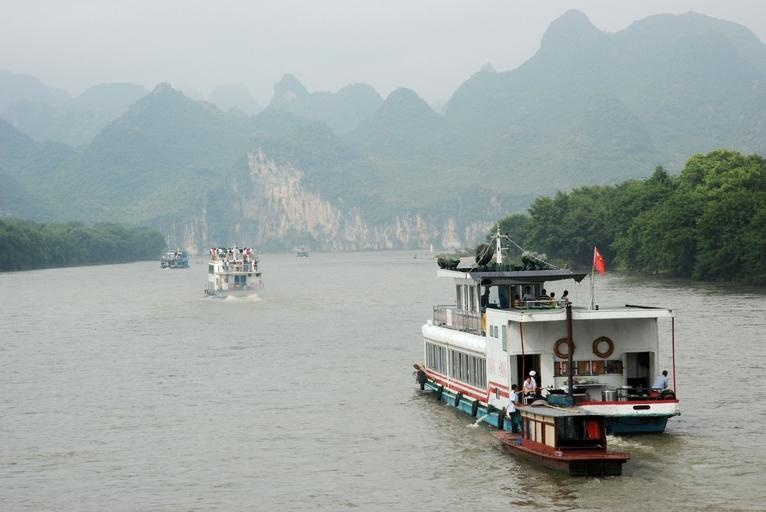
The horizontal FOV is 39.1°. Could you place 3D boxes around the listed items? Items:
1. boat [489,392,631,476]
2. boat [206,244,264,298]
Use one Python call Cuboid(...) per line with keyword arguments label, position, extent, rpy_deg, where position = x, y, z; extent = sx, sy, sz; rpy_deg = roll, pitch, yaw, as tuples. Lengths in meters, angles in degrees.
Cuboid(label="boat", position=(13.841, 13.683, 80.351), extent=(4.209, 3.298, 9.584), rpy_deg=(0, -3, -24))
Cuboid(label="boat", position=(-28.337, 3.057, 203.079), extent=(9.002, 9.091, 17.132), rpy_deg=(-2, 1, -10))
